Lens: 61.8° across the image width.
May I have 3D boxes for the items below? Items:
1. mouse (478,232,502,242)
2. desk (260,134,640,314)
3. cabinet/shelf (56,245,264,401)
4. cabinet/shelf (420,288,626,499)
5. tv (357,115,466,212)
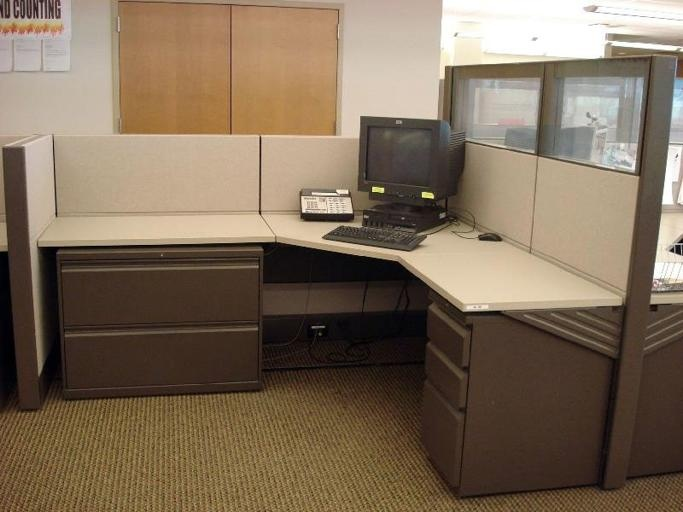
[{"bbox_3d":[0.766,-0.097,2.963,0.089,0.028,0.051,2,13,6],"label":"mouse"},{"bbox_3d":[0.316,-0.250,2.783,1.212,0.512,1.717,-4,19,-15],"label":"desk"},{"bbox_3d":[-0.922,0.322,3.196,1.331,0.970,0.707,-1,7,-5],"label":"cabinet/shelf"},{"bbox_3d":[0.742,0.575,2.515,0.712,0.802,0.477,0,7,-12],"label":"cabinet/shelf"},{"bbox_3d":[0.417,-0.564,3.343,0.583,0.454,0.578,5,14,14],"label":"tv"}]
